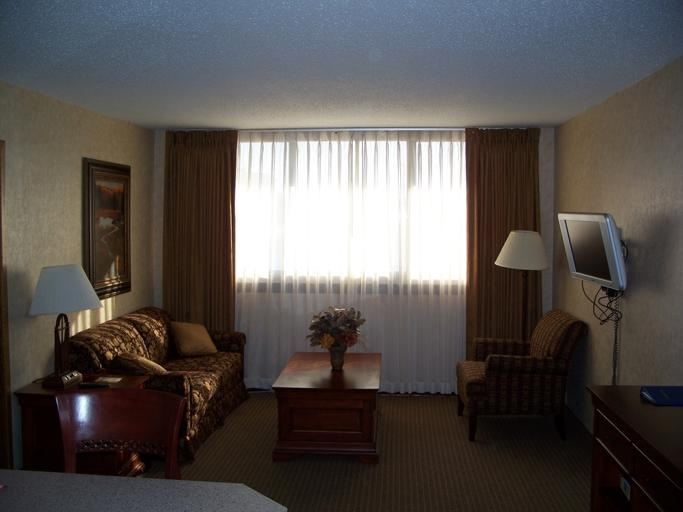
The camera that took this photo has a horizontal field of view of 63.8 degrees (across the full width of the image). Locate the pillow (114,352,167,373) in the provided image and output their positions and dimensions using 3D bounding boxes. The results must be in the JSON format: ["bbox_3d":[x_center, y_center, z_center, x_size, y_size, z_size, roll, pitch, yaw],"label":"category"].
[{"bbox_3d":[-1.936,1.056,5.356,0.564,0.154,0.239,2,8,13],"label":"pillow"}]

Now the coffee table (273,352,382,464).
[{"bbox_3d":[-0.127,1.488,5.419,0.723,0.499,1.025,0,4,1],"label":"coffee table"}]

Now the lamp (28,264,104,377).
[{"bbox_3d":[-2.558,0.601,5.033,0.569,1.043,0.542,4,8,31],"label":"lamp"}]

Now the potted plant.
[{"bbox_3d":[-0.057,0.875,5.762,0.598,0.669,0.605,-4,-3,38],"label":"potted plant"}]

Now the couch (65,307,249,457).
[{"bbox_3d":[-1.906,1.322,6.101,1.219,1.302,2.181,-1,2,-3],"label":"couch"}]
